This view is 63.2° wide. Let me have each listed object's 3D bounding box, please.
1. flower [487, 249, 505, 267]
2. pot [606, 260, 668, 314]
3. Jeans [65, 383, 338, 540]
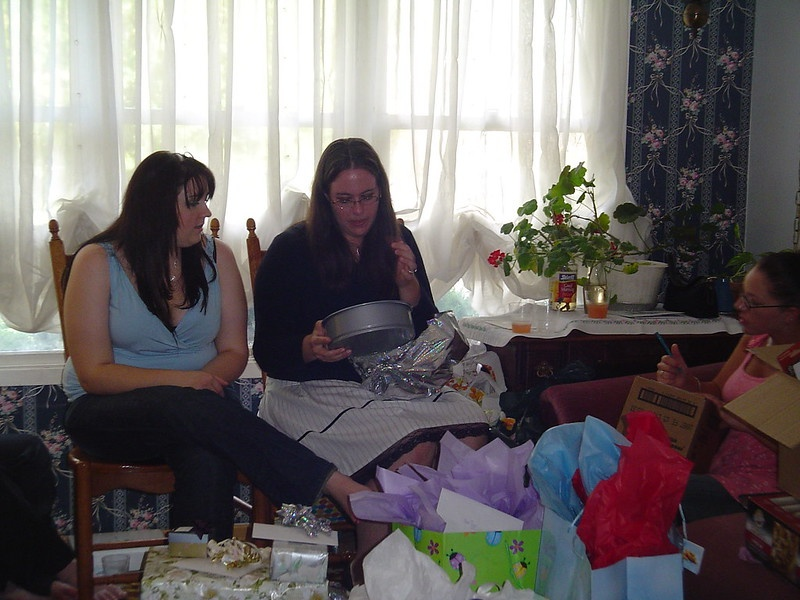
[{"bbox_3d":[0.377,-0.171,2.542,0.062,0.070,0.033,-3,1,26],"label":"flower"},{"bbox_3d":[0.914,-0.047,2.513,0.196,0.148,0.204,1,1,0],"label":"pot"},{"bbox_3d":[-0.574,0.411,1.746,0.777,0.354,0.267,3,9,26],"label":"Jeans"}]
